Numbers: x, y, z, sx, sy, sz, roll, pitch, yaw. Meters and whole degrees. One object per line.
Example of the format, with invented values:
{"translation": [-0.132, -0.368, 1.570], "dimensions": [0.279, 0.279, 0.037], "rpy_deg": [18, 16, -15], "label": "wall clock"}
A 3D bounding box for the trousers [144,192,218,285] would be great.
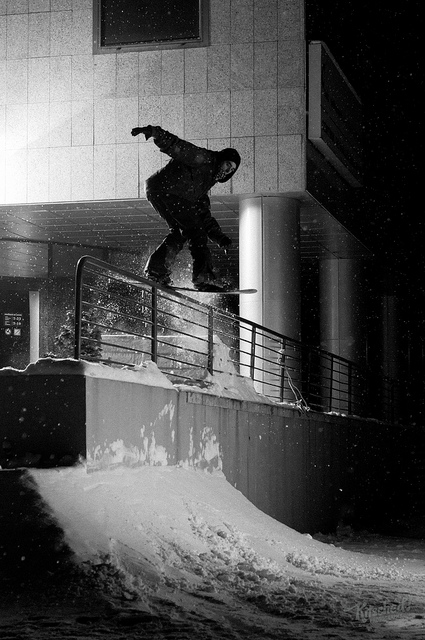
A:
{"translation": [-0.303, -0.723, 10.759], "dimensions": [0.567, 0.434, 1.159], "rpy_deg": [3, 48, -4], "label": "trousers"}
